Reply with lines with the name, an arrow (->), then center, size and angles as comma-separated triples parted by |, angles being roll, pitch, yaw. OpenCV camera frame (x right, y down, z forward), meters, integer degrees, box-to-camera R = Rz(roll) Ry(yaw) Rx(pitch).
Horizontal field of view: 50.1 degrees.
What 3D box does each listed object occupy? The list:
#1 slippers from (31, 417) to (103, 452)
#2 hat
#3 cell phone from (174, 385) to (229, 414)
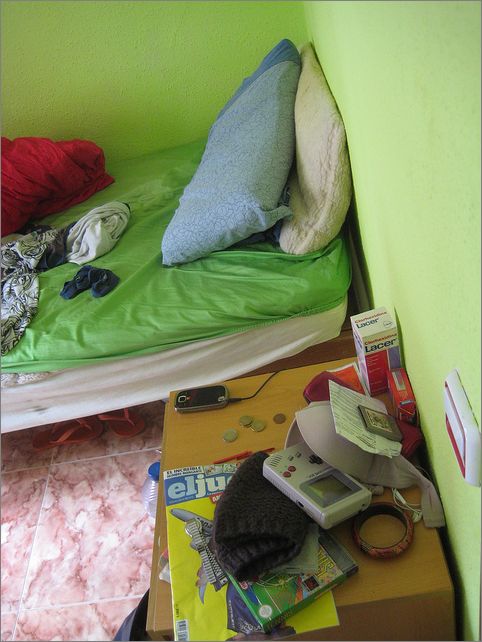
slippers -> -0.551, 0.365, 1.661 | 0.201, 0.041, 0.106 | -13, 43, 9
hat -> 0.030, 0.266, 0.770 | 0.062, 0.242, 0.210 | 34, 87, 8
cell phone -> -0.073, 0.147, 0.971 | 0.089, 0.018, 0.050 | -9, 38, 10
